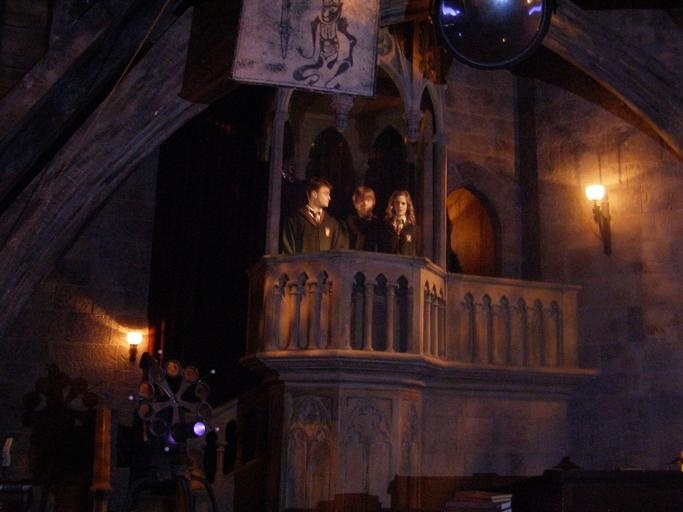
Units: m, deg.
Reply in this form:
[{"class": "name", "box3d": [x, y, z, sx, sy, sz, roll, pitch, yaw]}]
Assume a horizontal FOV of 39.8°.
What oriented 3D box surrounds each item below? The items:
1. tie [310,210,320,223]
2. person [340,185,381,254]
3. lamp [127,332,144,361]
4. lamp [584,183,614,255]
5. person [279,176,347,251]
[{"class": "tie", "box3d": [-0.282, -0.423, 10.280, 0.093, 0.127, 0.074, -9, -23, -31]}, {"class": "person", "box3d": [0.280, -0.299, 11.039, 0.457, 0.986, 0.299, 4, -29, -9]}, {"class": "lamp", "box3d": [-2.862, 1.257, 13.040, 0.231, 0.421, 0.175, 2, -15, -14]}, {"class": "lamp", "box3d": [3.206, -0.434, 11.593, 0.265, 0.859, 0.175, 10, -18, -38]}, {"class": "person", "box3d": [-0.346, -0.455, 10.589, 0.831, 1.015, 0.357, 1, -3, -37]}]
